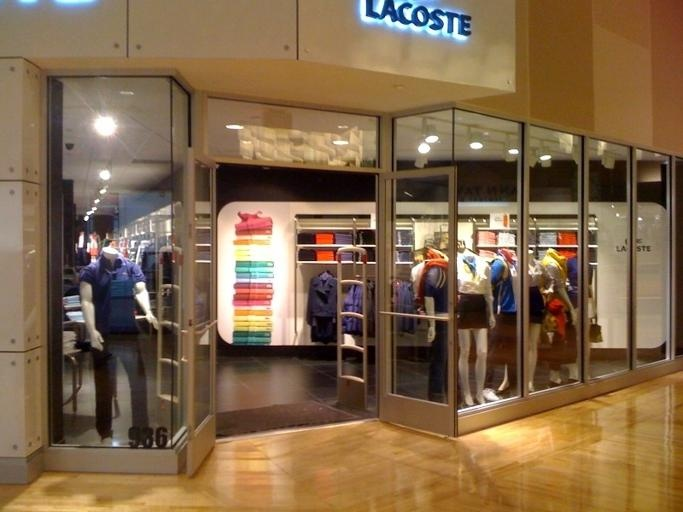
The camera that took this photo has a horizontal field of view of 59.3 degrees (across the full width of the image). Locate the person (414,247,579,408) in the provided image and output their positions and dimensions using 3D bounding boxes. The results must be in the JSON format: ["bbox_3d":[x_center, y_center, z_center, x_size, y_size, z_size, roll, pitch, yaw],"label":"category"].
[{"bbox_3d":[1.558,0.754,6.326,1.629,1.589,0.423,-1,5,-19],"label":"person"}]

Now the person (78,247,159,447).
[{"bbox_3d":[-1.950,0.726,5.201,0.645,1.710,0.218,1,5,14],"label":"person"}]

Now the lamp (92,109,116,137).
[{"bbox_3d":[-2.085,-1.141,5.182,0.195,0.195,0.121,-44,4,9],"label":"lamp"}]

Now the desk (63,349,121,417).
[{"bbox_3d":[-2.242,1.117,5.436,0.351,0.644,0.463,4,-9,-23],"label":"desk"}]
